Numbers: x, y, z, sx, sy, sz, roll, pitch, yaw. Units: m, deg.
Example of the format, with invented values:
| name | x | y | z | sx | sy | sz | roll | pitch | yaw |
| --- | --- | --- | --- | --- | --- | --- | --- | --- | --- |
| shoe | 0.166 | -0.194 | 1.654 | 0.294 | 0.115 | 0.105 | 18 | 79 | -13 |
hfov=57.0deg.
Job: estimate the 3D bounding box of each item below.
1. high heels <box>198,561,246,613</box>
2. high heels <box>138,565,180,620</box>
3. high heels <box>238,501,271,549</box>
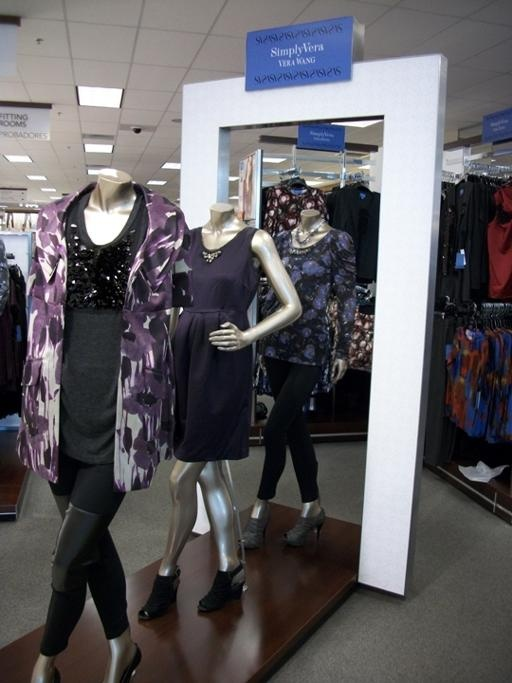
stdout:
| name | x | y | z | sx | sy | sz | roll | pitch | yaw |
| --- | --- | --- | --- | --- | --- | --- | --- | --- | --- |
| high heels | -0.102 | 0.790 | 1.563 | 0.068 | 0.133 | 0.211 | -4 | -5 | 36 |
| high heels | -0.290 | 0.784 | 1.495 | 0.058 | 0.126 | 0.168 | -3 | -13 | 28 |
| high heels | 0.006 | 0.742 | 2.026 | 0.090 | 0.235 | 0.079 | 39 | -28 | -30 |
